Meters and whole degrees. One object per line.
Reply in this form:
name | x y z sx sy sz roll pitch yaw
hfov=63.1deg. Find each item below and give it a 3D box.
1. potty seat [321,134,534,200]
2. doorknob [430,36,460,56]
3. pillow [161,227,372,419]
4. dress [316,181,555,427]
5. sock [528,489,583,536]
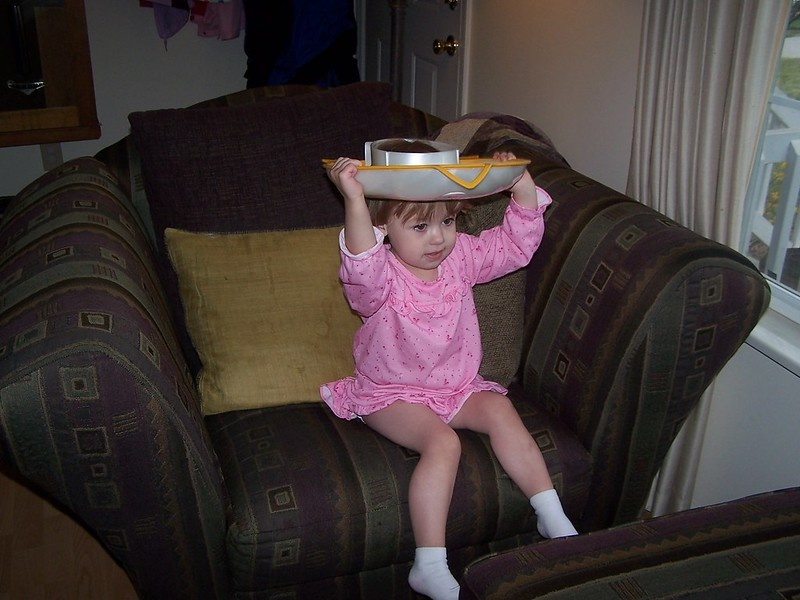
potty seat | 0.054 -0.270 1.422 0.439 0.146 0.259 -4 30 -3
doorknob | 0.207 -1.155 2.973 0.048 0.101 0.232 -14 32 -21
pillow | -0.328 0.031 1.659 0.446 0.495 0.129 -3 -11 -9
dress | 0.083 -0.012 1.794 0.502 0.667 0.563 -15 39 -28
sock | 0.342 0.468 1.423 0.044 0.106 0.133 2 -20 -26
